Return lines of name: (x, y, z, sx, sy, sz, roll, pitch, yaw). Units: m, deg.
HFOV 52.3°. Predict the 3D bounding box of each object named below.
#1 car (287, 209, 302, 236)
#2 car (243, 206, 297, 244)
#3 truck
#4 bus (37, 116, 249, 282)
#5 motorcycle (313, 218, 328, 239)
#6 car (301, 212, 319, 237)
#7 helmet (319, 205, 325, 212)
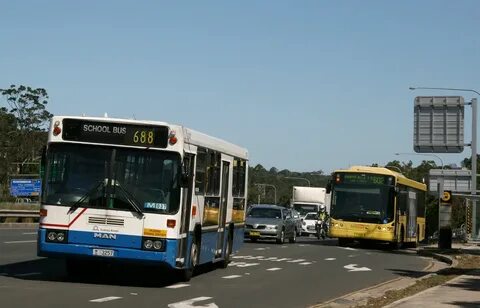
car: (3.817, 4.583, 32.804, 1.307, 1.200, 2.367, -1, -9, 10)
car: (1.832, 4.246, 29.746, 2.758, 2.279, 4.082, 0, -5, 13)
truck: (6.970, 6.094, 47.018, 2.864, 4.565, 8.616, -2, -21, 17)
bus: (-2.160, 1.356, 13.921, 2.985, 4.383, 6.003, -3, -7, 40)
motorcycle: (6.550, 5.895, 38.975, 0.886, 1.566, 2.212, 0, -5, 13)
car: (6.420, 6.098, 44.232, 1.835, 1.891, 3.663, 2, -4, 3)
helmet: (6.521, 4.267, 38.676, 0.473, 0.609, 0.648, 0, -28, 3)
